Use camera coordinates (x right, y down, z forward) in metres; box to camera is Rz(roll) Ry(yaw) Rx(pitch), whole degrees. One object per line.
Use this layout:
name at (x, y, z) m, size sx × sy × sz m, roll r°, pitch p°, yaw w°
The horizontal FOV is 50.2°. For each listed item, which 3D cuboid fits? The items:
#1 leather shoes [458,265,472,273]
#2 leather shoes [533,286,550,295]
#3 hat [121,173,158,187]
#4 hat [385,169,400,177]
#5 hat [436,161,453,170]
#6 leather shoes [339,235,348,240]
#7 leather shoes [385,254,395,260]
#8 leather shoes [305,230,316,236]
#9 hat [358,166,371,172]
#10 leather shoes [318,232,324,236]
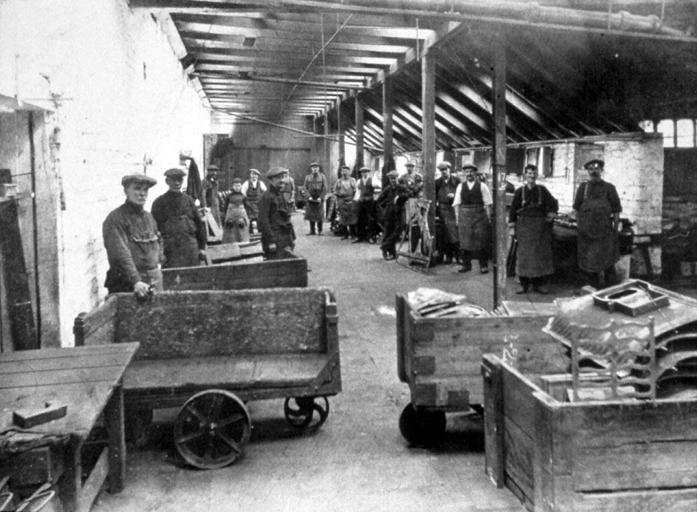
leather shoes at (2.153, 0.216, 13.689) m, size 0.273 × 0.129 × 0.100 m, roll 1°, pitch 6°, yaw -19°
leather shoes at (3.015, 0.521, 11.613) m, size 0.090 × 0.139 × 0.297 m, roll -2°, pitch 1°, yaw -8°
hat at (-2.210, -0.813, 7.795) m, size 0.347 × 0.176 × 0.383 m, roll -2°, pitch 3°, yaw -20°
hat at (0.941, -1.864, 16.385) m, size 0.239 × 0.105 × 0.285 m, roll 0°, pitch 4°, yaw -2°
hat at (1.794, -1.793, 14.440) m, size 0.348 × 0.147 × 0.397 m, roll -5°, pitch 5°, yaw -27°
leather shoes at (-0.128, -0.510, 19.173) m, size 0.238 × 0.184 × 0.087 m, roll 3°, pitch -2°, yaw -5°
leather shoes at (0.859, 0.002, 15.251) m, size 0.154 × 0.094 × 0.246 m, roll -1°, pitch 9°, yaw -16°
leather shoes at (-1.053, -0.656, 20.333) m, size 0.358 × 0.173 × 0.124 m, roll 5°, pitch 7°, yaw 0°
hat at (0.379, -2.137, 18.036) m, size 0.243 × 0.097 × 0.271 m, roll 0°, pitch 3°, yaw -4°
leather shoes at (-0.769, -0.648, 20.345) m, size 0.090 × 0.137 × 0.288 m, roll -1°, pitch 2°, yaw -12°
